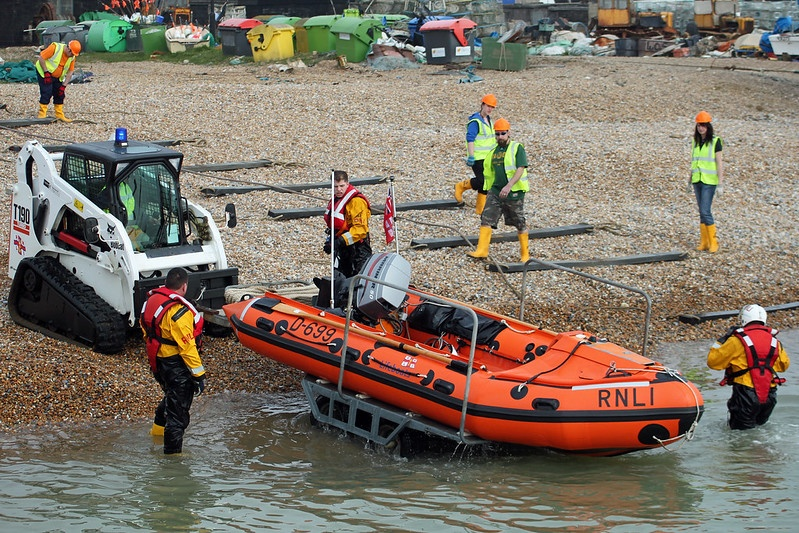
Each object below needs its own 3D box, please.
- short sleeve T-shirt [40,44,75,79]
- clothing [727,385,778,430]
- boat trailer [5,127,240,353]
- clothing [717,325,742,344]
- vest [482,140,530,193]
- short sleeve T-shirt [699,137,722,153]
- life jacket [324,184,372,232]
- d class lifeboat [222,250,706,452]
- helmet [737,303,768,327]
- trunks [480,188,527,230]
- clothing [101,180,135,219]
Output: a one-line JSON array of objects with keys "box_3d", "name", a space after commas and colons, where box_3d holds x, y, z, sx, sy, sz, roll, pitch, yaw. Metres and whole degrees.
[{"box_3d": [-7.003, -4.195, 26.571, 0.491, 0.658, 0.842, 11, 9, 34], "name": "short sleeve T-shirt"}, {"box_3d": [5.016, 1.979, 18.006, 0.671, 0.738, 0.494, 0, 17, 3], "name": "clothing"}, {"box_3d": [-4.122, -0.603, 19.955, 3.905, 2.756, 3.169, 21, 24, 35], "name": "boat trailer"}, {"box_3d": [4.640, 0.967, 17.903, 0.376, 0.090, 0.208, -28, 2, 0], "name": "clothing"}, {"box_3d": [1.757, -1.593, 21.016, 0.818, 0.826, 0.351, 12, 20, 43], "name": "vest"}, {"box_3d": [5.313, -2.052, 21.679, 0.304, 0.283, 0.360, -10, 14, -40], "name": "short sleeve T-shirt"}, {"box_3d": [-0.854, -0.822, 19.220, 0.738, 0.704, 0.460, -14, 19, -43], "name": "life jacket"}, {"box_3d": [0.814, 1.408, 18.027, 6.190, 1.758, 2.821, 13, 21, 23], "name": "d class lifeboat"}, {"box_3d": [4.959, 0.695, 17.959, 0.339, 0.274, 0.348, 5, 8, -20], "name": "helmet"}, {"box_3d": [1.750, -0.939, 21.251, 0.936, 0.819, 0.395, 1, 11, 3], "name": "trunks"}, {"box_3d": [-4.074, -0.968, 19.043, 0.428, 0.557, 0.160, -7, 2, -30], "name": "clothing"}]
